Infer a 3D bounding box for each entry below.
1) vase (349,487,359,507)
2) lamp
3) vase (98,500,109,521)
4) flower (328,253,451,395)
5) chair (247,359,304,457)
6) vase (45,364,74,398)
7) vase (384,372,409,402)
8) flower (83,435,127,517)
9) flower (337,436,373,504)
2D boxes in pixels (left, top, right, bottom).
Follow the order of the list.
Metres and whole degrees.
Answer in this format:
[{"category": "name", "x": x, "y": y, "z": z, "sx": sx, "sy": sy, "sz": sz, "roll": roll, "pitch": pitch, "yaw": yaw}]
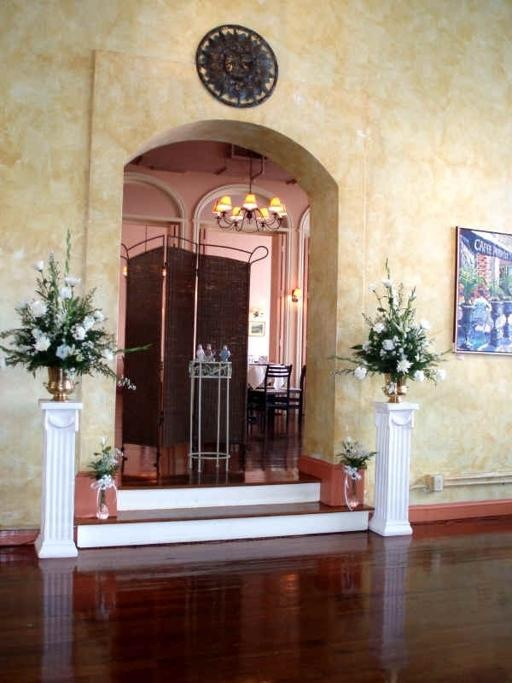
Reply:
[{"category": "vase", "x": 0.767, "y": 1.219, "z": 5.155, "sx": 0.084, "sy": 0.140, "sz": 0.127, "roll": 3, "pitch": -2, "yaw": 11}, {"category": "lamp", "x": -0.093, "y": -2.509, "z": 10.217, "sx": 1.143, "sy": 1.550, "sz": 1.101, "roll": 2, "pitch": -3, "yaw": -16}, {"category": "vase", "x": -1.039, "y": 1.143, "z": 4.466, "sx": 0.090, "sy": 0.082, "sz": 0.097, "roll": 3, "pitch": -2, "yaw": -12}, {"category": "flower", "x": 1.171, "y": -0.093, "z": 5.279, "sx": 0.950, "sy": 1.145, "sz": 0.699, "roll": 4, "pitch": -2, "yaw": -38}, {"category": "chair", "x": 0.430, "y": 0.829, "z": 9.513, "sx": 0.918, "sy": 1.436, "sz": 0.968, "roll": -1, "pitch": 6, "yaw": -26}, {"category": "vase", "x": -1.271, "y": 0.251, "z": 4.331, "sx": 0.217, "sy": 0.224, "sz": 0.191, "roll": 7, "pitch": 9, "yaw": 43}, {"category": "vase", "x": 1.077, "y": 0.362, "z": 5.113, "sx": 0.163, "sy": 0.217, "sz": 0.266, "roll": 3, "pitch": -2, "yaw": 11}, {"category": "flower", "x": -1.059, "y": 0.941, "z": 4.562, "sx": 0.216, "sy": 0.387, "sz": 0.363, "roll": 3, "pitch": -2, "yaw": -14}, {"category": "flower", "x": 0.774, "y": 1.032, "z": 5.175, "sx": 0.252, "sy": 0.521, "sz": 0.248, "roll": 3, "pitch": -2, "yaw": -2}]
